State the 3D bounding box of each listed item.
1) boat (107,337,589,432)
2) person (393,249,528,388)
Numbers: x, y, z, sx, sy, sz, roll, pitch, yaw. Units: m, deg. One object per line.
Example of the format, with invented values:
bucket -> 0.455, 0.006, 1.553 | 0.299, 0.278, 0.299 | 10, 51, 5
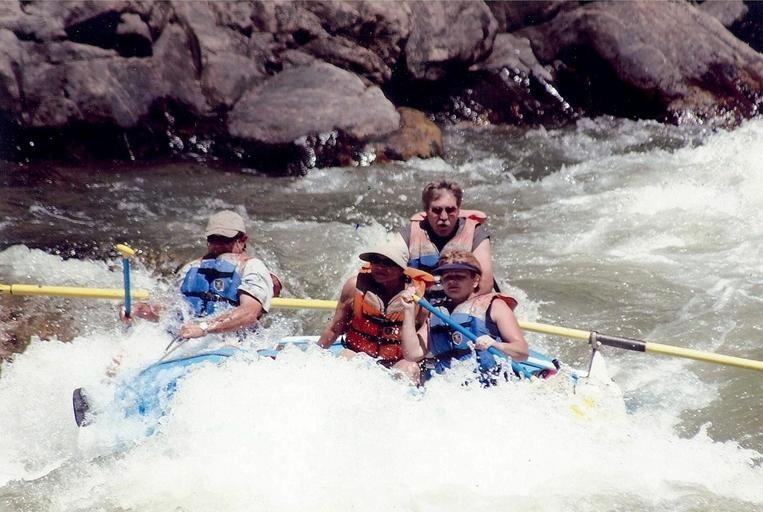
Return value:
boat -> -1.235, 1.372, 10.117 | 3.275, 0.582, 1.930 | 2, 14, -8
person -> 0.813, 0.748, 10.170 | 0.873, 0.589, 1.564 | -28, 41, 22
